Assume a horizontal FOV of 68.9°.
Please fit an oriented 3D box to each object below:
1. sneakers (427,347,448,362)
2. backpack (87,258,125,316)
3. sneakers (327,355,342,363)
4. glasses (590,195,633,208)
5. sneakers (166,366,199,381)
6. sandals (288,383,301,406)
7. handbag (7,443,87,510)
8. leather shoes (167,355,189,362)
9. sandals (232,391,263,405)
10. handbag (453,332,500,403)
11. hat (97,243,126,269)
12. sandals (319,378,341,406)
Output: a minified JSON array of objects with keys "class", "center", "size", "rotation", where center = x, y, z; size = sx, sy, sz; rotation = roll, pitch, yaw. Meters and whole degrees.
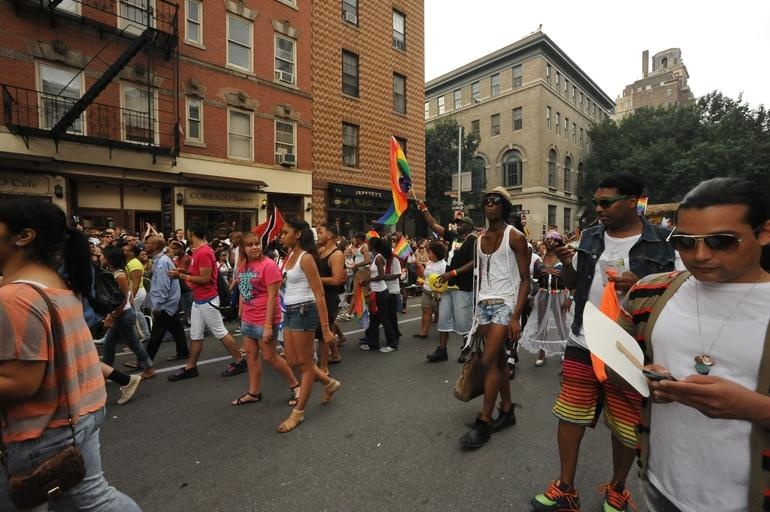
[{"class":"sneakers","center":[0.917,1.719,9.788],"size":[0.354,0.253,0.189],"rotation":[5,-8,-9]},{"class":"backpack","center":[-3.453,0.409,6.869],"size":[0.329,0.703,0.759],"rotation":[-2,2,-27]},{"class":"sneakers","center":[-0.879,1.760,9.620],"size":[0.142,0.159,0.391],"rotation":[-1,-12,0]},{"class":"glasses","center":[2.455,-0.601,6.114],"size":[0.374,0.130,0.121],"rotation":[0,2,43]},{"class":"sneakers","center":[-3.238,1.859,8.915],"size":[0.469,0.199,0.172],"rotation":[2,10,-18]},{"class":"sandals","center":[-1.300,1.980,8.024],"size":[0.151,0.186,0.462],"rotation":[0,-6,-3]},{"class":"handbag","center":[-2.980,1.943,4.922],"size":[0.583,0.431,0.217],"rotation":[-23,-28,-3]},{"class":"leather shoes","center":[-3.694,1.782,9.909],"size":[0.310,0.088,0.121],"rotation":[6,-7,-33]},{"class":"sandals","center":[-1.984,2.023,8.067],"size":[0.400,0.166,0.157],"rotation":[3,1,-20]},{"class":"handbag","center":[1.119,1.314,6.977],"size":[0.522,1.102,0.269],"rotation":[-21,39,-38]},{"class":"hat","center":[-4.280,0.029,8.732],"size":[0.353,0.492,0.365],"rotation":[1,-8,-20]},{"class":"sandals","center":[-0.776,1.893,7.995],"size":[0.211,0.510,0.160],"rotation":[13,36,-15]}]
